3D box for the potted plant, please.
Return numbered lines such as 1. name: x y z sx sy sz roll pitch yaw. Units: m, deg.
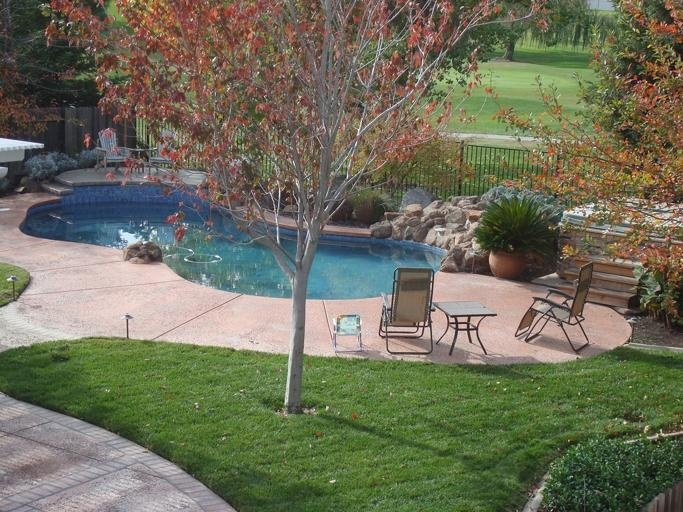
1. potted plant: 4.394 -0.454 15.338 1.898 2.243 2.039 3 13 16
